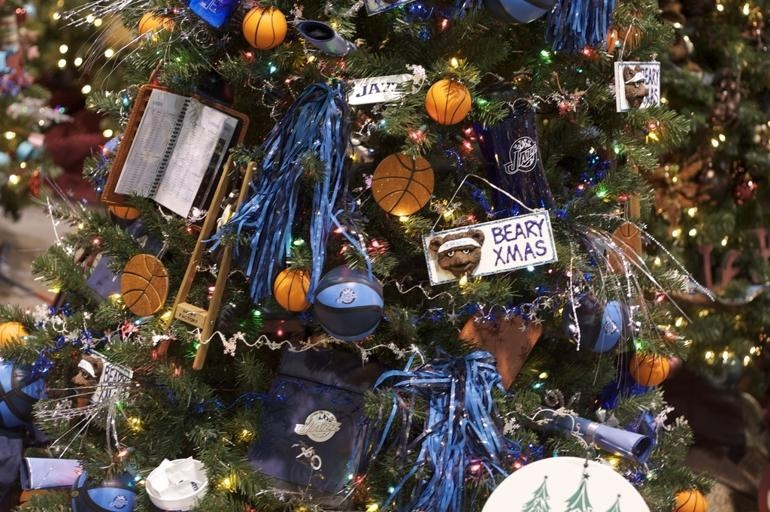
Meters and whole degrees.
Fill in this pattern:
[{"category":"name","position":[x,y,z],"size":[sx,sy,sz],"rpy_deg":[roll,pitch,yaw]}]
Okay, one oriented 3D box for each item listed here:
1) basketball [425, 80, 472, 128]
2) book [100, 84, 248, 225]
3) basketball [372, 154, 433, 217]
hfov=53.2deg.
[{"category":"basketball","position":[0.183,-0.437,2.231],"size":[0.113,0.116,0.126],"rpy_deg":[5,98,36]},{"category":"book","position":[-0.667,-0.330,2.412],"size":[0.397,0.136,0.425],"rpy_deg":[26,91,5]},{"category":"basketball","position":[0.053,-0.221,2.276],"size":[0.187,0.194,0.169],"rpy_deg":[13,66,3]}]
